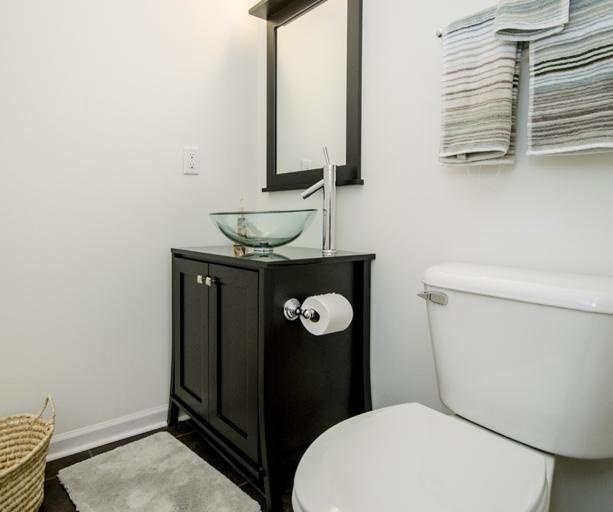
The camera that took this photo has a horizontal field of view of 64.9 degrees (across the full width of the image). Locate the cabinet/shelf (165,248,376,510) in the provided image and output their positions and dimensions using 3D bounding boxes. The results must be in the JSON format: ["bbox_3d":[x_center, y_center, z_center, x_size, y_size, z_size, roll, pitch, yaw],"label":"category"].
[{"bbox_3d":[-0.182,0.405,2.087,0.642,1.109,1.046,-3,5,-35],"label":"cabinet/shelf"}]

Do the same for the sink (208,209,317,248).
[{"bbox_3d":[-0.161,-0.089,1.680,0.382,0.146,0.161,-1,11,2],"label":"sink"}]

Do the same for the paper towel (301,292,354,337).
[{"bbox_3d":[0.019,0.187,1.545,0.097,0.106,0.124,16,-1,-9],"label":"paper towel"}]
